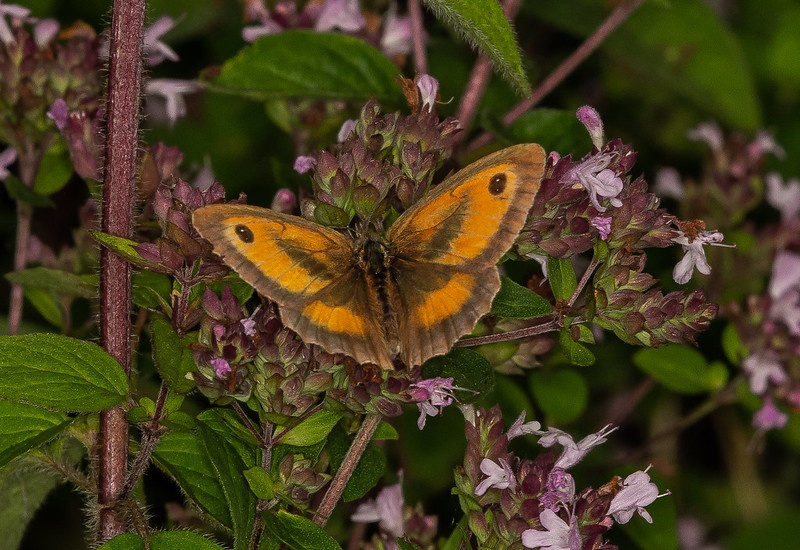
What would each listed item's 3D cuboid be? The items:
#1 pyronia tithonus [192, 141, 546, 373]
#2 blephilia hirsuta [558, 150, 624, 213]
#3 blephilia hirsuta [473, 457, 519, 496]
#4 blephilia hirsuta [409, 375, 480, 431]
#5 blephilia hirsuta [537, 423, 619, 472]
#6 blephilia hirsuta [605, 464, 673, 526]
[{"bbox_3d":[-0.032,-0.005,2.689,1.022,0.549,0.204,-12,26,-6],"label":"pyronia tithonus"},{"bbox_3d":[0.594,-0.293,2.785,0.146,0.090,0.196,-4,99,-25],"label":"blephilia hirsuta"},{"bbox_3d":[0.285,0.596,2.733,0.129,0.043,0.104,-3,83,-5],"label":"blephilia hirsuta"},{"bbox_3d":[0.117,0.350,2.757,0.202,0.166,0.126,-29,85,-7],"label":"blephilia hirsuta"},{"bbox_3d":[0.533,0.481,2.791,0.221,0.152,0.066,-24,42,16],"label":"blephilia hirsuta"},{"bbox_3d":[0.744,0.687,2.886,0.196,0.068,0.187,-36,74,-16],"label":"blephilia hirsuta"}]
